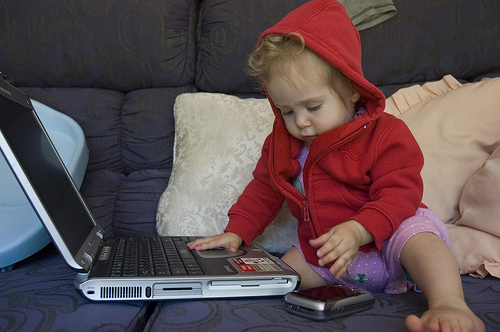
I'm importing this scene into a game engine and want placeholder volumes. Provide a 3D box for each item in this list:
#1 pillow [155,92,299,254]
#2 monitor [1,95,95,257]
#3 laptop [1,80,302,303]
[{"bbox_3d":[-0.123,0.007,1.378,0.586,0.572,0.178,0,-13,9],"label":"pillow"},{"bbox_3d":[-0.531,0.013,0.976,0.115,0.392,0.450,-20,32,-24],"label":"monitor"},{"bbox_3d":[-0.240,0.039,1.120,0.775,0.516,0.538,-4,11,-11],"label":"laptop"}]
